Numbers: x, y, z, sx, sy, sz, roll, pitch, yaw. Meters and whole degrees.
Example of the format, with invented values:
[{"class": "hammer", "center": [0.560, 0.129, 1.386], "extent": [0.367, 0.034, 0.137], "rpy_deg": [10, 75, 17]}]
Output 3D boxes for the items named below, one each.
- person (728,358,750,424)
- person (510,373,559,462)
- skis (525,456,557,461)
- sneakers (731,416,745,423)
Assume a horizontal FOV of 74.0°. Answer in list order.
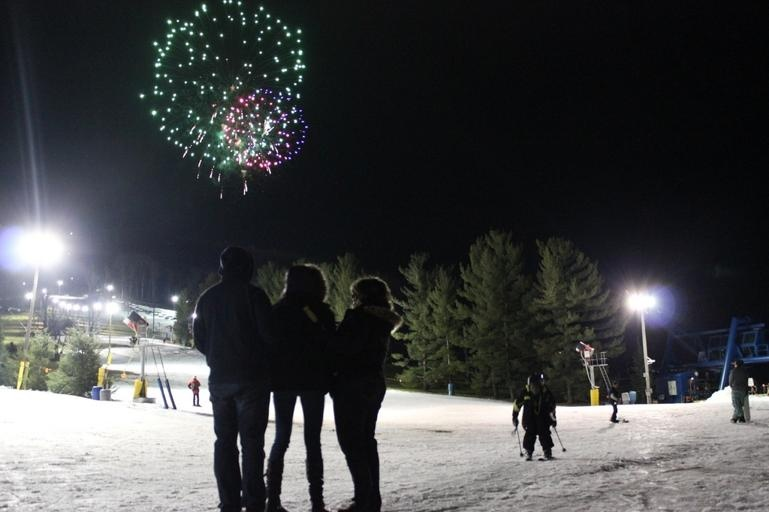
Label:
[{"class": "person", "center": [11.244, 4.234, 16.235], "extent": [0.549, 1.878, 1.502], "rpy_deg": [-7, -14, 33]}, {"class": "person", "center": [3.330, 3.498, 11.332], "extent": [0.919, 1.773, 0.830], "rpy_deg": [-2, -12, 10]}, {"class": "skis", "center": [3.358, 4.368, 10.998], "extent": [0.661, 0.120, 0.103], "rpy_deg": [4, -33, 1]}, {"class": "sneakers", "center": [10.863, 5.013, 15.683], "extent": [0.495, 0.207, 0.163], "rpy_deg": [-2, -5, -8]}]
